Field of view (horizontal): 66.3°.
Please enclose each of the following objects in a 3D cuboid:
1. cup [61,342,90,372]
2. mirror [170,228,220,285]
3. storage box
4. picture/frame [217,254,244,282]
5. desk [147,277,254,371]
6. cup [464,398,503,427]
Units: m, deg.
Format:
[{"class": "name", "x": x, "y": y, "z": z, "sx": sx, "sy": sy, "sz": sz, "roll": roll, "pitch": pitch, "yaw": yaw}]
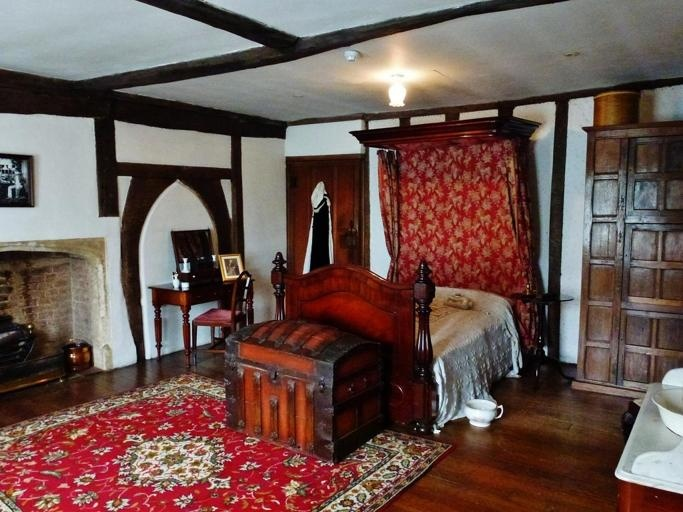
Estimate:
[{"class": "cup", "x": -2.863, "y": 1.096, "z": 5.695, "sx": 0.260, "sy": 0.267, "sz": 0.292, "roll": -3, "pitch": 12, "yaw": -14}, {"class": "mirror", "x": -1.749, "y": 0.035, "z": 6.153, "sx": 0.297, "sy": 0.691, "sz": 0.645, "roll": -8, "pitch": 2, "yaw": 35}, {"class": "storage box", "x": -0.226, "y": 0.946, "z": 4.400, "sx": 1.363, "sy": 0.917, "sz": 0.987, "roll": 3, "pitch": 7, "yaw": 35}, {"class": "picture/frame", "x": -1.342, "y": 0.163, "z": 6.289, "sx": 0.025, "sy": 0.292, "sz": 0.317, "roll": -15, "pitch": -1, "yaw": 35}, {"class": "desk", "x": -1.491, "y": 0.550, "z": 6.089, "sx": 1.013, "sy": 0.828, "sz": 1.325, "roll": 4, "pitch": 9, "yaw": 27}, {"class": "cup", "x": 1.229, "y": 1.329, "z": 4.519, "sx": 0.288, "sy": 0.166, "sz": 0.396, "roll": 6, "pitch": 13, "yaw": 26}]
